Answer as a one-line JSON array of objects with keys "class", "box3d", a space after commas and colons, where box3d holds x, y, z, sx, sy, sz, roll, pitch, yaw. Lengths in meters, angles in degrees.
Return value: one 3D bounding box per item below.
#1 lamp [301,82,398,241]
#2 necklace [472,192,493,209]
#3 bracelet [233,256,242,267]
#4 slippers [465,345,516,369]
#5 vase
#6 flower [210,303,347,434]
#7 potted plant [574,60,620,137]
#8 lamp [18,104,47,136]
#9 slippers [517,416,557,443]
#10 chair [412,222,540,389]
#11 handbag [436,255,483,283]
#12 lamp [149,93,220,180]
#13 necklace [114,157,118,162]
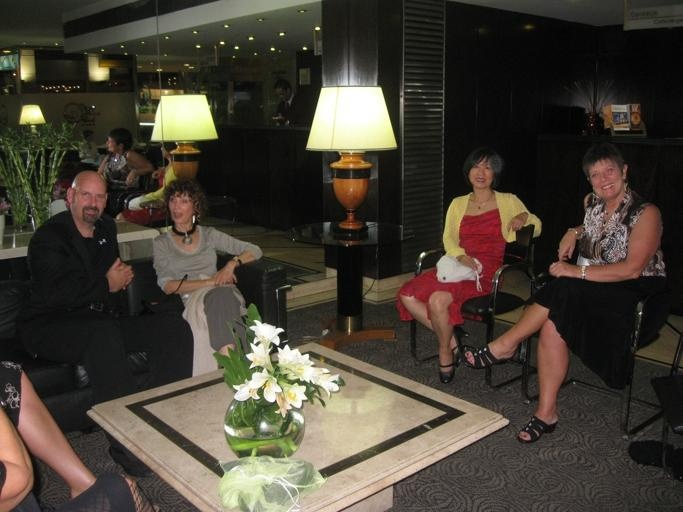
[{"class": "lamp", "box3d": [0.081, -0.684, 3.596, 0.685, 0.981, 0.658, -1, 14, -4]}, {"class": "necklace", "box3d": [0.913, -0.360, 3.272, 0.148, 0.099, 0.044, 5, 2, 30]}, {"class": "bracelet", "box3d": [-0.647, 0.027, 3.114, 0.052, 0.054, 0.033, -1, -8, -41]}, {"class": "slippers", "box3d": [0.859, 0.563, 2.824, 0.285, 0.129, 0.086, -1, 3, 33]}, {"class": "vase", "box3d": [-0.244, 0.532, 1.551, 0.217, 0.144, 0.209, 1, -2, -4]}, {"class": "flower", "box3d": [-0.245, 0.347, 1.573, 0.358, 0.248, 0.261, 13, -7, 26]}, {"class": "potted plant", "box3d": [3.078, -2.010, 6.155, 0.443, 1.008, 1.724, 9, 15, 26]}, {"class": "lamp", "box3d": [-2.047, -0.925, 3.428, 0.179, 0.212, 0.168, -3, 20, -13]}, {"class": "slippers", "box3d": [1.043, 0.879, 2.634, 0.254, 0.085, 0.090, -9, 17, -27]}, {"class": "chair", "box3d": [0.880, 0.282, 3.315, 0.752, 0.927, 0.761, -2, 7, -18]}, {"class": "handbag", "box3d": [0.728, 0.076, 3.093, 0.214, 0.077, 0.167, -1, 25, 1]}, {"class": "lamp", "box3d": [-1.256, -0.943, 4.070, 0.547, 0.631, 0.509, -9, 14, -36]}, {"class": "necklace", "box3d": [-1.628, -0.702, 3.630, 0.032, 0.030, 0.009, 0, 2, -21]}]
